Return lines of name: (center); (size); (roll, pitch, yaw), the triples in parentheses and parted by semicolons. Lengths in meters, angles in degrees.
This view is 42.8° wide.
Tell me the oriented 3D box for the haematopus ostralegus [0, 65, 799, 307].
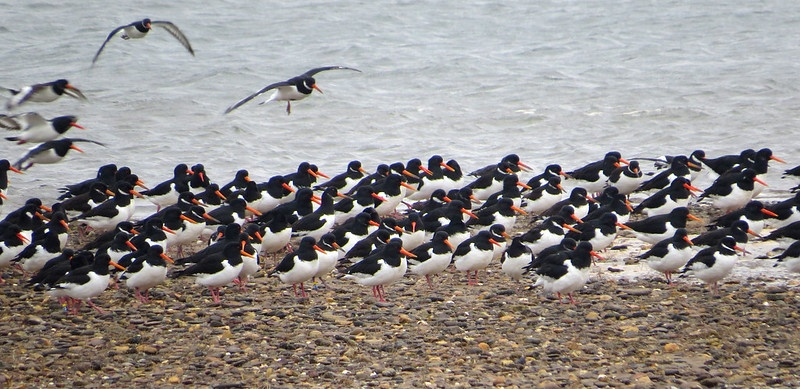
haematopus ostralegus: (-0.310, -2.239, 42.350); (30.628, 7.540, 17.298); (-3, 20, 0)
